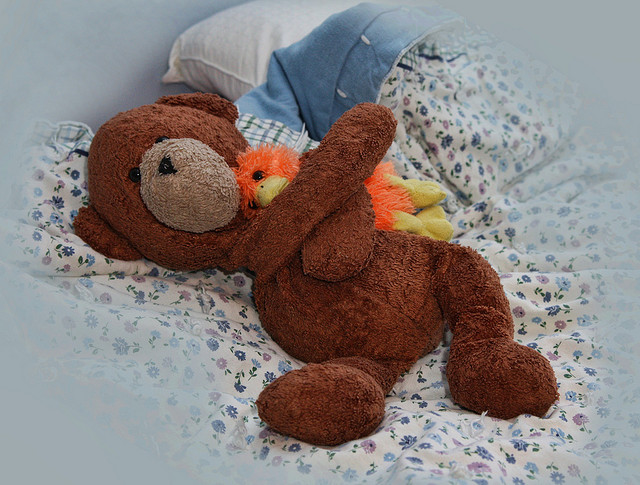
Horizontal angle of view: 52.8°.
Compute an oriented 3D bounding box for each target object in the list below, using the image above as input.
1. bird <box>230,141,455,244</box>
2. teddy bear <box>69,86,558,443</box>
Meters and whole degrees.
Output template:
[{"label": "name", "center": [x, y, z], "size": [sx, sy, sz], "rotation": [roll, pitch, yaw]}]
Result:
[{"label": "bird", "center": [0.073, -0.114, 1.389], "size": [0.251, 0.365, 0.173], "rotation": [32, 103, 20]}, {"label": "teddy bear", "center": [-0.055, 0.135, 1.422], "size": [0.919, 0.436, 0.589], "rotation": [40, 60, 20]}]
